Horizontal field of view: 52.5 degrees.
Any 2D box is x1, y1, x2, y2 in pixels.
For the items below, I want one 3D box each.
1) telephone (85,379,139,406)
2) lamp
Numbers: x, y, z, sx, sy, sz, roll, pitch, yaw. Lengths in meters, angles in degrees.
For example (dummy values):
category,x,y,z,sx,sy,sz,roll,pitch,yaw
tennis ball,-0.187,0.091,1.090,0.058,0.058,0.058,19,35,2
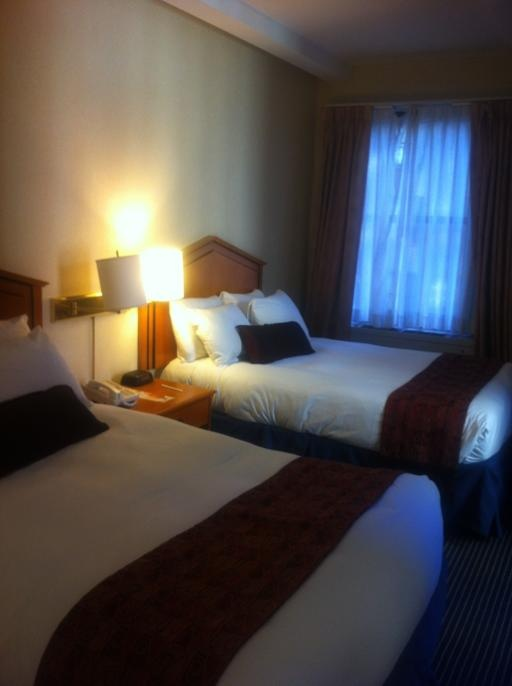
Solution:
category,x,y,z,sx,sy,sz,roll,pitch,yaw
telephone,-0.779,0.272,2.775,0.201,0.092,0.161,15,10,20
lamp,-0.814,-0.286,2.867,0.412,0.318,0.465,-4,5,33
